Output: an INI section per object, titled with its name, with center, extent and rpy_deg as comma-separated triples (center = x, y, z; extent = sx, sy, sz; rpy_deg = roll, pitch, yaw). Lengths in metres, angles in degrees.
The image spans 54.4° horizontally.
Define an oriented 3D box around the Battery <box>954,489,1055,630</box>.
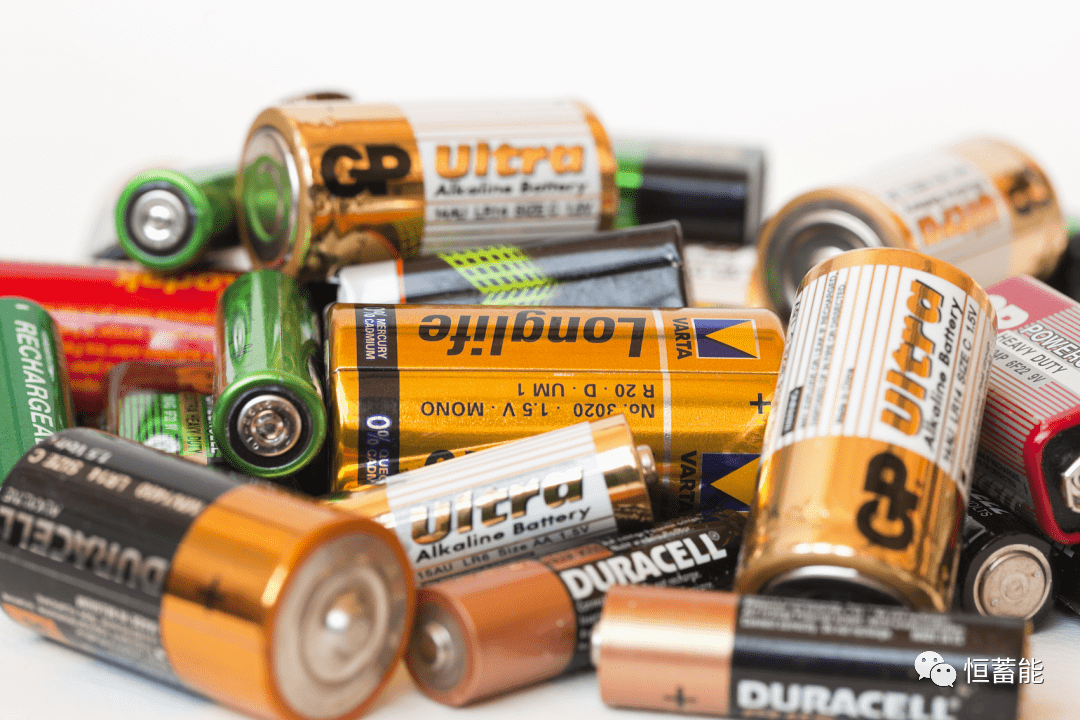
[Battery]
center = 1.129, 0.491, 2.549
extent = 0.155, 0.150, 0.352
rpy_deg = -2, 21, -3
